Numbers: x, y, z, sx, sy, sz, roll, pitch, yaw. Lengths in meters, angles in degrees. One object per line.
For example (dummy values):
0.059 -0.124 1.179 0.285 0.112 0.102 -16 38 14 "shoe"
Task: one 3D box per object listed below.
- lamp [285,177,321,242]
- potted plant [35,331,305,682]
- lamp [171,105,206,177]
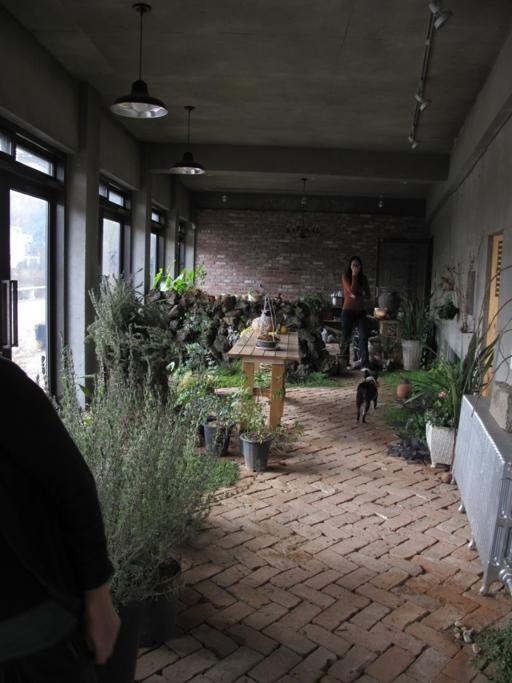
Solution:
1.210 -3.426 12.627 0.983 1.749 0.955 -5 13 -25 "lamp"
-0.351 0.502 2.185 1.069 1.209 0.820 1 -3 -45 "potted plant"
-0.901 -2.737 6.670 0.471 0.793 0.458 2 14 -8 "lamp"
